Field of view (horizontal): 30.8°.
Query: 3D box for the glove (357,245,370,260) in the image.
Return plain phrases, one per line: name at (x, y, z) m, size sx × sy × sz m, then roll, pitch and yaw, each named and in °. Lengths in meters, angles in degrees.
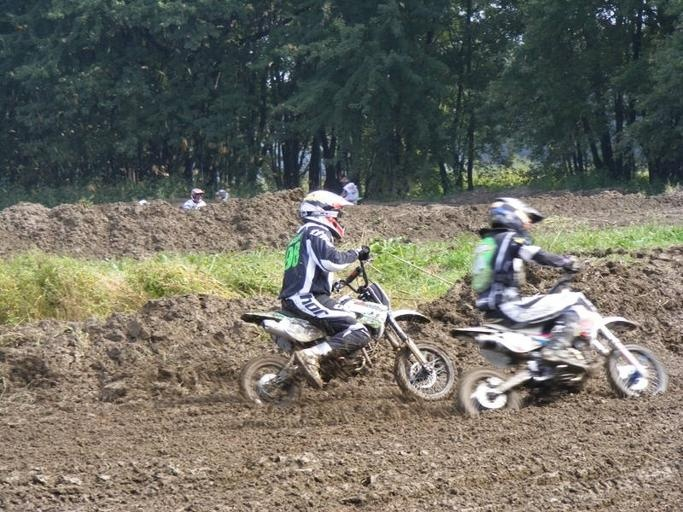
glove at (0.610, -0.138, 35.994) m, size 0.310 × 0.369 × 0.398 m, roll 6°, pitch -5°, yaw 24°
